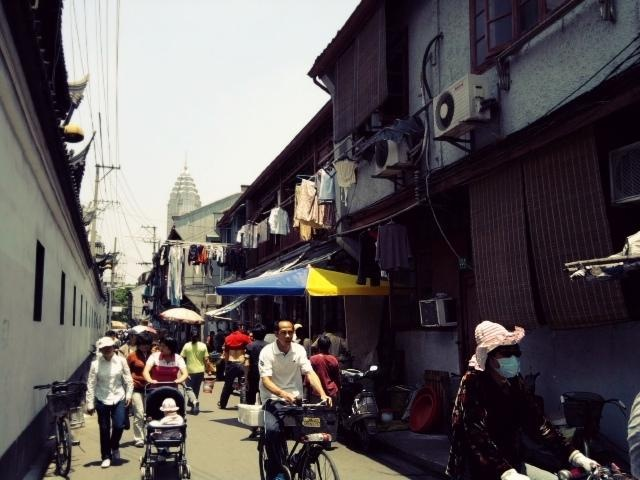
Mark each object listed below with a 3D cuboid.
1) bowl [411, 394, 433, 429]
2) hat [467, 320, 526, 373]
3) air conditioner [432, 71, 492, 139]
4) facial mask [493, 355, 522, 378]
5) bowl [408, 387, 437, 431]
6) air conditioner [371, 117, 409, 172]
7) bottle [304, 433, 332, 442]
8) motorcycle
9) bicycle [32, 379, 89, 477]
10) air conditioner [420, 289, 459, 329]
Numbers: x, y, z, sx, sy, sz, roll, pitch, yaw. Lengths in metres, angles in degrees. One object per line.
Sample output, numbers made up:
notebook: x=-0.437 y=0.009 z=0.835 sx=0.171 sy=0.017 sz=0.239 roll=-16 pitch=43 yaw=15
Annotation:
bowl: x=1.961 y=3.365 z=11.991 sx=0.128 sy=0.605 sz=0.585 roll=19 pitch=-7 yaw=-11
hat: x=1.643 y=0.914 z=5.811 sx=0.406 sy=0.237 sz=0.464 roll=-26 pitch=4 yaw=33
air conditioner: x=2.406 y=-2.294 z=10.735 sx=0.437 sy=0.854 sz=1.205 roll=0 pitch=-6 yaw=-18
facial mask: x=1.724 y=1.183 z=5.689 sx=0.176 sy=0.170 sz=0.209 roll=3 pitch=-12 yaw=-10
bowl: x=2.002 y=3.270 z=11.887 sx=0.153 sy=0.741 sz=0.686 roll=13 pitch=-54 yaw=-18
air conditioner: x=1.446 y=-1.944 z=12.711 sx=0.596 sy=1.122 sz=0.621 roll=-1 pitch=4 yaw=-15
bottle: x=-0.004 y=2.389 z=7.401 sx=0.347 sy=0.107 sz=0.122 roll=9 pitch=-15 yaw=-23
motorcycle: x=0.758 y=3.187 z=11.791 sx=0.776 sy=1.547 sz=1.827 roll=1 pitch=-14 yaw=4
bicycle: x=-4.112 y=2.893 z=9.858 sx=0.791 sy=1.780 sz=0.929 roll=3 pitch=-2 yaw=-22
air conditioner: x=2.398 y=1.482 z=12.650 sx=0.371 sy=0.578 sz=0.741 roll=-7 pitch=-3 yaw=-20
